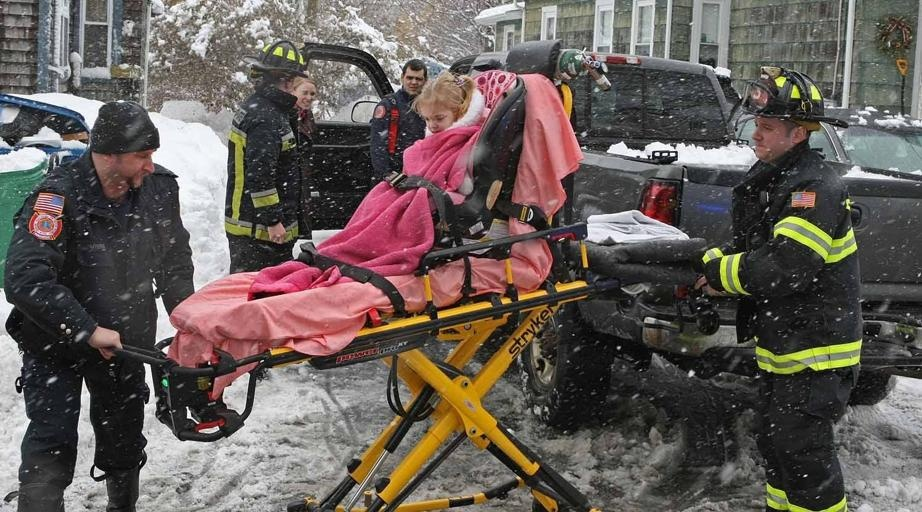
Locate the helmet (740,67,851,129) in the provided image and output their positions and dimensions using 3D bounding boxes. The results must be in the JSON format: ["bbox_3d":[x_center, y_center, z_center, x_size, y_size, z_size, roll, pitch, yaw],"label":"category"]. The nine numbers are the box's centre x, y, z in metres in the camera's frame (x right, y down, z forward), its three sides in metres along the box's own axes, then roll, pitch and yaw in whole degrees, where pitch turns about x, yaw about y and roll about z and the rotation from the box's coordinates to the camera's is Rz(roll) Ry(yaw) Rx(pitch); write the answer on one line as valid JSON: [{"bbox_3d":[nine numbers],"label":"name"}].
[{"bbox_3d":[2.629,-1.203,7.524,0.720,0.310,0.479,16,6,-5],"label":"helmet"}]

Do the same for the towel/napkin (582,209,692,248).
[{"bbox_3d":[1.385,-0.213,7.626,0.738,0.234,0.450,2,9,4],"label":"towel/napkin"}]

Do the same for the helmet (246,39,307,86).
[{"bbox_3d":[-1.697,-1.855,9.205,0.437,0.231,0.478,6,18,9],"label":"helmet"}]

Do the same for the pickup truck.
[{"bbox_3d":[1.560,-0.437,10.094,3.677,2.441,6.147,-4,18,-21],"label":"pickup truck"}]

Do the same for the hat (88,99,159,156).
[{"bbox_3d":[-2.525,-0.935,7.167,0.447,0.325,0.451,15,16,38],"label":"hat"}]
